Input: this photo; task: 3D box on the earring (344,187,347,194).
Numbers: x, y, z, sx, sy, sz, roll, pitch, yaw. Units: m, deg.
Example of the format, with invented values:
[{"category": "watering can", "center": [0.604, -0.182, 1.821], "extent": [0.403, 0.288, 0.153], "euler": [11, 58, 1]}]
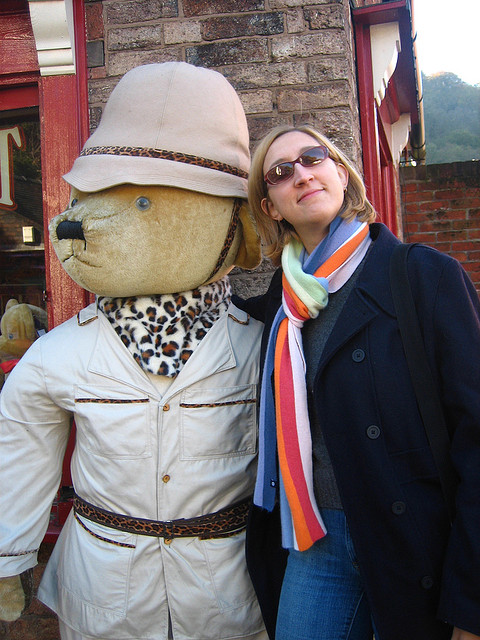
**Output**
[{"category": "earring", "center": [0.311, -0.378, 2.032], "extent": [0.007, 0.017, 0.021], "euler": [-1, 6, 5]}]

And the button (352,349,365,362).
[{"category": "button", "center": [0.293, 0.089, 1.714], "extent": [0.030, 0.028, 0.007], "euler": [18, -5, 29]}]

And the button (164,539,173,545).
[{"category": "button", "center": [-0.198, 0.608, 1.899], "extent": [0.013, 0.016, 0.007], "euler": [-2, 27, -3]}]

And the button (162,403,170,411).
[{"category": "button", "center": [-0.203, 0.243, 1.929], "extent": [0.025, 0.021, 0.008], "euler": [-1, -9, -11]}]

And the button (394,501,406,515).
[{"category": "button", "center": [0.378, 0.446, 1.640], "extent": [0.024, 0.028, 0.006], "euler": [0, 8, 15]}]

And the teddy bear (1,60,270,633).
[{"category": "teddy bear", "center": [-0.318, 0.075, 2.034], "extent": [0.769, 1.662, 0.522], "euler": [-1, 7, 1]}]

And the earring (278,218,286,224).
[{"category": "earring", "center": [0.130, -0.300, 2.106], "extent": [0.014, 0.009, 0.013], "euler": [1, 8, -1]}]

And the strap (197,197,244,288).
[{"category": "strap", "center": [0.013, -0.238, 2.178], "extent": [0.194, 0.236, 0.101], "euler": [20, 2, 39]}]

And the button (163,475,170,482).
[{"category": "button", "center": [-0.199, 0.436, 1.902], "extent": [0.024, 0.020, 0.006], "euler": [-6, 1, -9]}]

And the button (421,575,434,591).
[{"category": "button", "center": [0.439, 0.617, 1.623], "extent": [0.028, 0.038, 0.007], "euler": [-1, 7, 7]}]
